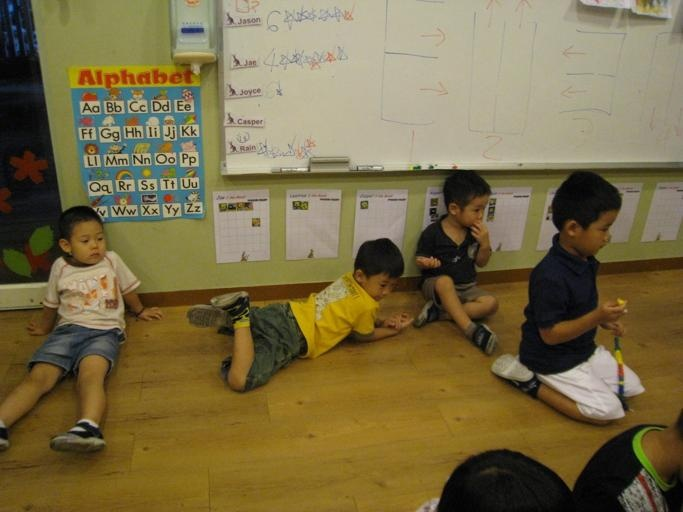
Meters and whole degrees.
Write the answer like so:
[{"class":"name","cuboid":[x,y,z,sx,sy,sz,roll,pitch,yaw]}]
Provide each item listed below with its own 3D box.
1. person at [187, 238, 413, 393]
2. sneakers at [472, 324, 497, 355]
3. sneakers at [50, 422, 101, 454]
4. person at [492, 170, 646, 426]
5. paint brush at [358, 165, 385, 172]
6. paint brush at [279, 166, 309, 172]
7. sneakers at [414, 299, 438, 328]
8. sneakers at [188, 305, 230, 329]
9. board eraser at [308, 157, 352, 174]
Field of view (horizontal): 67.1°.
[{"class":"person","cuboid":[-0.154,0.277,2.289,0.983,0.428,0.484,-14,40,-12]},{"class":"sneakers","cuboid":[0.661,0.382,2.421,0.075,0.065,0.175,4,21,-19]},{"class":"sneakers","cuboid":[-0.884,0.606,1.748,0.172,0.075,0.089,10,35,-18]},{"class":"person","cuboid":[0.958,0.154,2.051,0.538,0.918,0.354,18,28,35]},{"class":"paint brush","cuboid":[0.139,-0.427,2.501,0.108,0.026,0.020,-1,54,-4]},{"class":"paint brush","cuboid":[-0.222,-0.408,2.434,0.138,0.025,0.029,-4,24,-11]},{"class":"sneakers","cuboid":[0.428,0.287,2.566,0.065,0.093,0.175,21,31,40]},{"class":"sneakers","cuboid":[-0.549,0.238,2.139,0.104,0.053,0.135,4,-1,-6]},{"class":"board eraser","cuboid":[-0.054,-0.442,2.466,0.210,0.068,0.059,-1,23,-3]}]
